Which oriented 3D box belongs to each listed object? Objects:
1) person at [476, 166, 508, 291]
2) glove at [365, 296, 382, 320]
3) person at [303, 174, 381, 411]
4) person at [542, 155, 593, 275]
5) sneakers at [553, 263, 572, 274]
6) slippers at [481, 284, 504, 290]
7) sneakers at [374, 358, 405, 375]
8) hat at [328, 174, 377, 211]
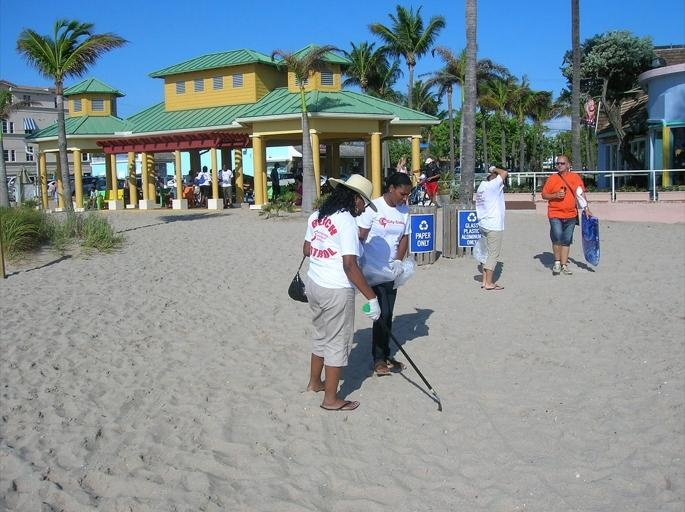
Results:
[{"bbox_3d":[2.462,-0.409,10.983,0.464,2.115,0.518,3,12,14],"label":"person"},{"bbox_3d":[0.295,0.521,6.379,0.139,0.217,0.204,-1,-11,9],"label":"glove"},{"bbox_3d":[-0.014,0.450,6.647,0.845,2.413,0.582,6,13,25],"label":"person"},{"bbox_3d":[3.988,-0.653,11.723,0.805,2.246,0.678,-10,16,-41],"label":"person"},{"bbox_3d":[4.187,0.239,12.332,0.449,0.229,0.171,2,10,14],"label":"sneakers"},{"bbox_3d":[2.619,0.555,11.391,0.270,0.050,0.142,-2,7,-1],"label":"slippers"},{"bbox_3d":[0.559,1.316,7.750,0.350,0.163,0.152,-11,12,-30],"label":"sneakers"},{"bbox_3d":[0.128,-0.619,6.533,0.358,0.143,0.304,35,-7,-28],"label":"hat"}]
